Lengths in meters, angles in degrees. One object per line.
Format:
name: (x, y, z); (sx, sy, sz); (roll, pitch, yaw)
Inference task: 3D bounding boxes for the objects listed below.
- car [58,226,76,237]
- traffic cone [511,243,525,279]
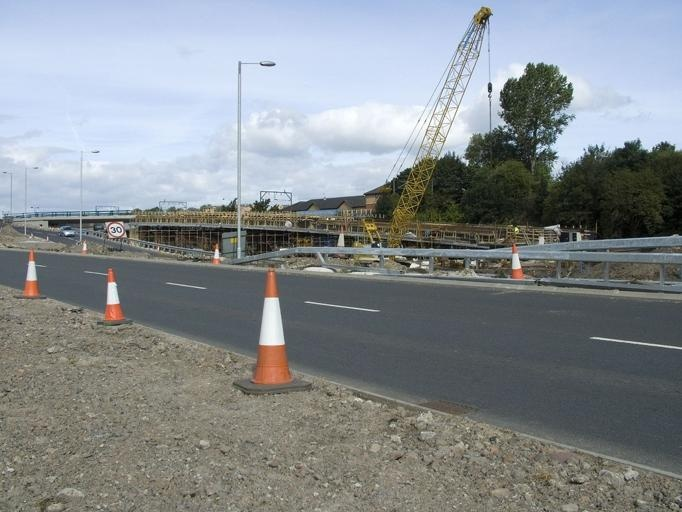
car: (-42.589, -3.712, 93.826); (1.777, 1.423, 3.925); (-5, 4, -33)
traffic cone: (5.057, 0.145, 17.288); (0.326, 1.022, 1.308); (4, 7, 16)
